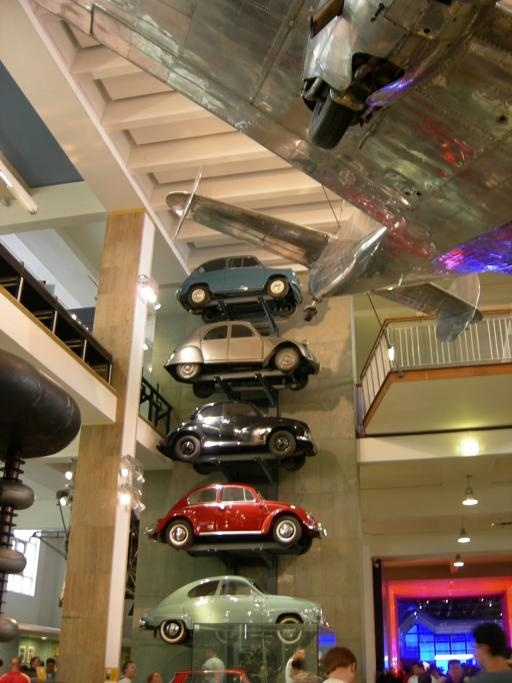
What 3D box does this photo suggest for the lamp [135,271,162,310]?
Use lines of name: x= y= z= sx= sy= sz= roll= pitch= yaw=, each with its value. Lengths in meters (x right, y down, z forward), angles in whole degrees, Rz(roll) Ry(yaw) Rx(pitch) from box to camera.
lamp: x=-2.209 y=-1.068 z=11.641 sx=0.208 sy=0.706 sz=0.532 roll=-28 pitch=-2 yaw=-3

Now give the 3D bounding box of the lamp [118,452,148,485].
lamp: x=-2.234 y=2.303 z=10.214 sx=0.442 sy=0.585 sz=0.303 roll=10 pitch=-27 yaw=-21

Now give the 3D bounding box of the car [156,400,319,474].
car: x=-0.288 y=2.115 z=12.492 sx=2.830 sy=1.167 sz=1.557 roll=-2 pitch=-17 yaw=10

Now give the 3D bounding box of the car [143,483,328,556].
car: x=-0.344 y=3.530 z=11.467 sx=3.065 sy=1.266 sz=1.109 roll=-6 pitch=-25 yaw=13

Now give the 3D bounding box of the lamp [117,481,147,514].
lamp: x=-2.231 y=2.810 z=10.057 sx=0.432 sy=0.455 sz=0.382 roll=6 pitch=-25 yaw=-12

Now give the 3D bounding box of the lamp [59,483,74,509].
lamp: x=-3.856 y=3.108 z=11.506 sx=0.270 sy=0.448 sz=1.054 roll=7 pitch=-25 yaw=-15

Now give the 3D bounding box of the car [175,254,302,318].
car: x=-0.332 y=-1.383 z=14.055 sx=2.800 sy=1.145 sz=1.509 roll=-2 pitch=-21 yaw=9
